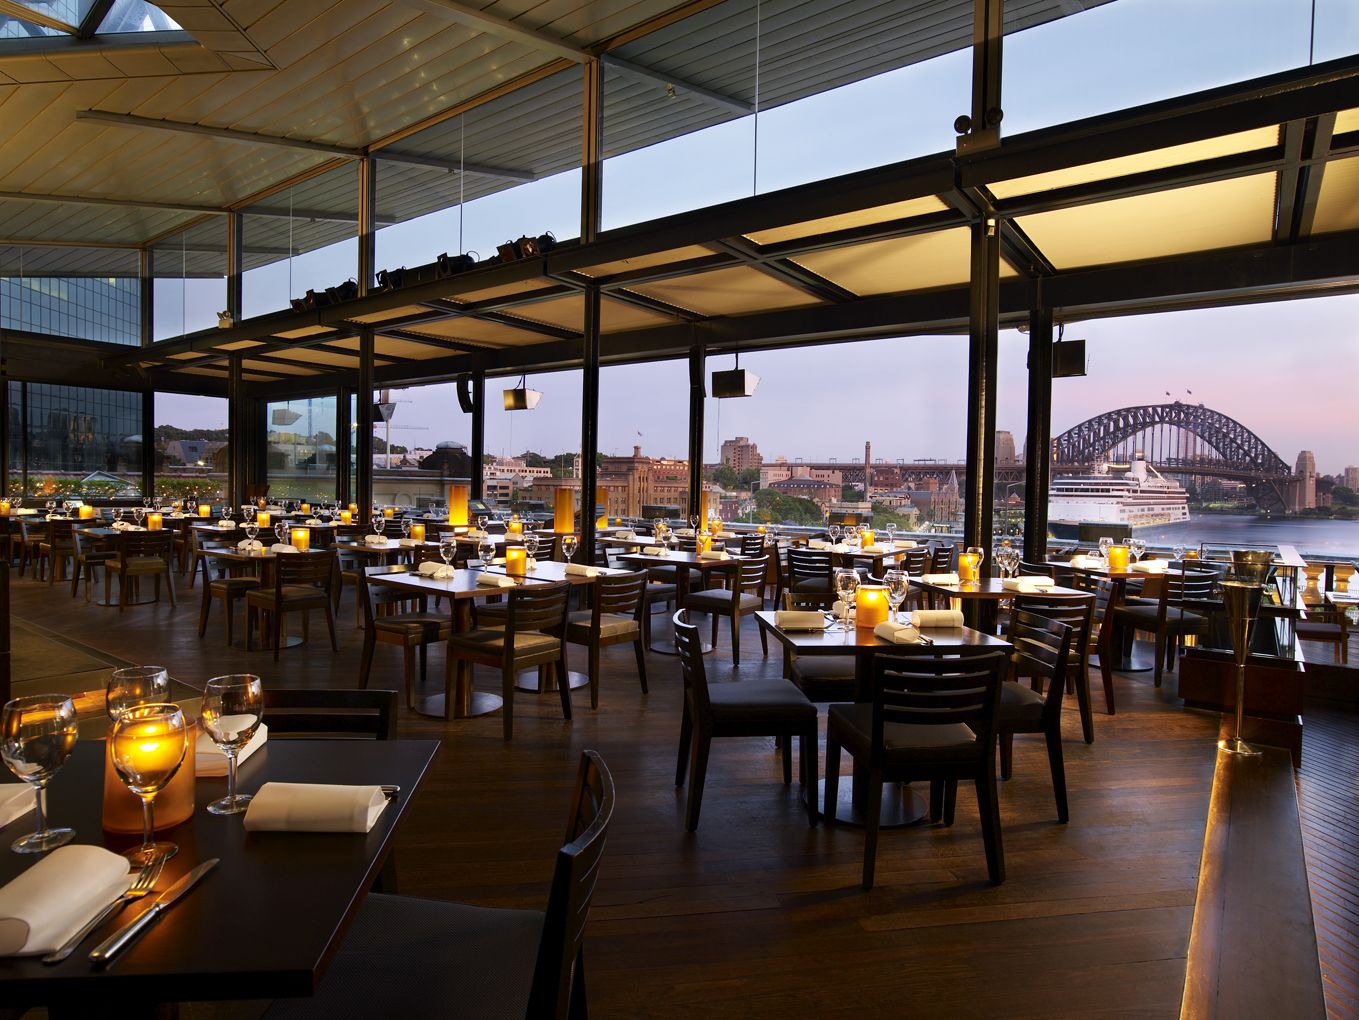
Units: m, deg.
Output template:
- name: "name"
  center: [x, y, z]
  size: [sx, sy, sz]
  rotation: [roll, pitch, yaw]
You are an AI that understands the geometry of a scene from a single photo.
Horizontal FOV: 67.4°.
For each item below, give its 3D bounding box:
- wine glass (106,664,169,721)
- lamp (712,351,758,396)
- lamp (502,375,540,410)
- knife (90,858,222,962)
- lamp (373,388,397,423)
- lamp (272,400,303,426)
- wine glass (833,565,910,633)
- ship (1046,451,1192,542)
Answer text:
- name: "wine glass"
  center: [-1.870, 0.611, 3.540]
  size: [0.193, 0.202, 0.190]
  rotation: [0, 3, -24]
- name: "lamp"
  center: [0.573, -1.482, 11.424]
  size: [0.378, 0.694, 0.393]
  rotation: [-7, 12, -42]
- name: "lamp"
  center: [-2.046, -1.481, 12.929]
  size: [0.418, 0.534, 0.386]
  rotation: [0, 2, -22]
- name: "knife"
  center: [-1.584, 1.206, 3.207]
  size: [0.098, 0.035, 0.572]
  rotation: [25, 27, 15]
- name: "lamp"
  center: [-4.772, -1.663, 16.530]
  size: [0.278, 0.553, 1.373]
  rotation: [-5, 13, -11]
- name: "lamp"
  center: [-6.982, -1.696, 18.071]
  size: [0.527, 0.436, 0.406]
  rotation: [-1, -1, -8]
- name: "wine glass"
  center: [1.093, 0.501, 5.717]
  size: [0.353, 0.300, 0.336]
  rotation: [4, -4, -16]
- name: "ship"
  center: [4.511, -0.300, 10.408]
  size: [1.348, 0.564, 0.744]
  rotation: [7, 17, 16]
